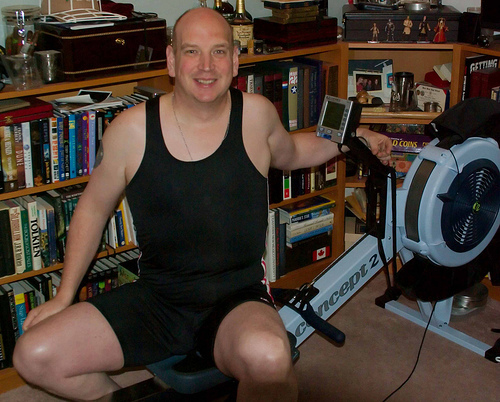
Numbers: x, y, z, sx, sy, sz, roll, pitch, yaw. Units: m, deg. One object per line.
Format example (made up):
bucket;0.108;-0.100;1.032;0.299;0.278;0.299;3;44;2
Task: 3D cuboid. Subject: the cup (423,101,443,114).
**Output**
cup;1.062;-0.559;2.619;0.100;0.094;0.063;9;22;15

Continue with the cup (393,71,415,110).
cup;0.901;-0.644;2.635;0.141;0.255;0.152;-2;26;1
